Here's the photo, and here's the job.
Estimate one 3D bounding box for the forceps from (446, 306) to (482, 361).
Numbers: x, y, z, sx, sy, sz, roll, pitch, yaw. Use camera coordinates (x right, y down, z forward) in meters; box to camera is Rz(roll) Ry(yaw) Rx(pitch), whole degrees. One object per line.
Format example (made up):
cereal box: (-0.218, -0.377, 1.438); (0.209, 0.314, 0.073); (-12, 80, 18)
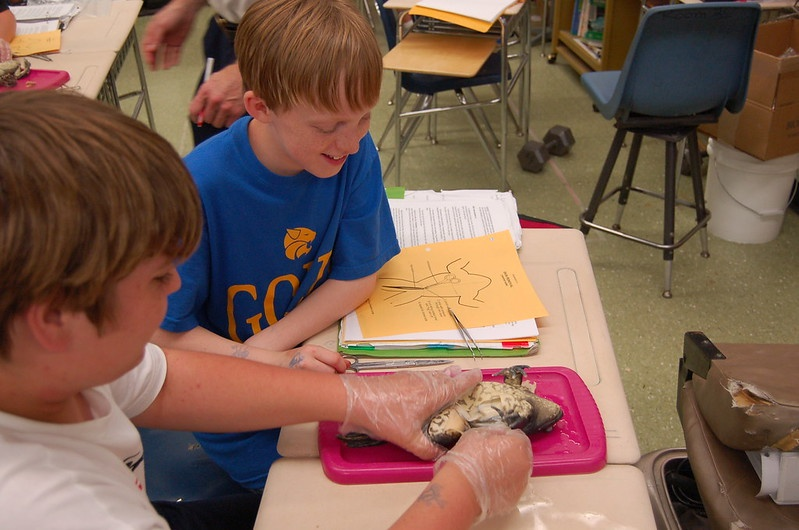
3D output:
forceps: (0.133, 0.143, 1.250); (0.022, 0.024, 0.189); (-23, 49, -4)

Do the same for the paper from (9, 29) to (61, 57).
paper: (-1.483, -0.891, 2.551); (0.166, 0.041, 0.163); (-10, 42, -12)

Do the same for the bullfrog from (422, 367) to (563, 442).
bullfrog: (0.179, 0.280, 1.151); (0.262, 0.199, 0.095); (4, 67, -28)
